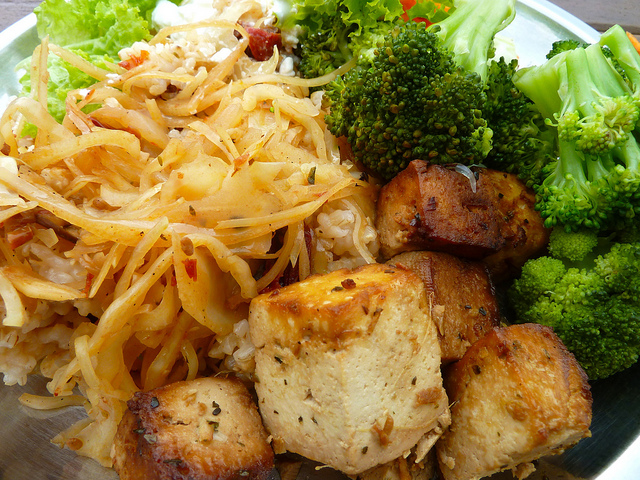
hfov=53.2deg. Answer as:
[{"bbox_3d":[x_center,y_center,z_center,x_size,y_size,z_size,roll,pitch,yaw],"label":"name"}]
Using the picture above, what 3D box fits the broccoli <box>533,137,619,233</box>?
[{"bbox_3d":[1.239,-0.331,3.082,0.318,0.242,0.469,5,55,7],"label":"broccoli"}]
